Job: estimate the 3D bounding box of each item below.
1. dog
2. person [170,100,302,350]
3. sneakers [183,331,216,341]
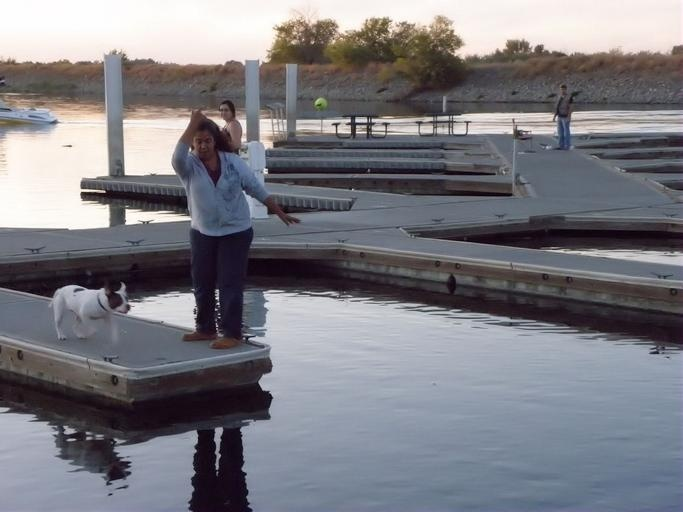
[{"bbox_3d":[-2.259,0.517,10.564,1.021,0.527,0.337,1,1,34],"label":"dog"},{"bbox_3d":[-1.063,-0.213,10.340,0.763,2.191,0.438,-2,15,-4],"label":"person"},{"bbox_3d":[-1.313,0.765,10.835,0.340,0.109,0.102,5,4,0],"label":"sneakers"}]
